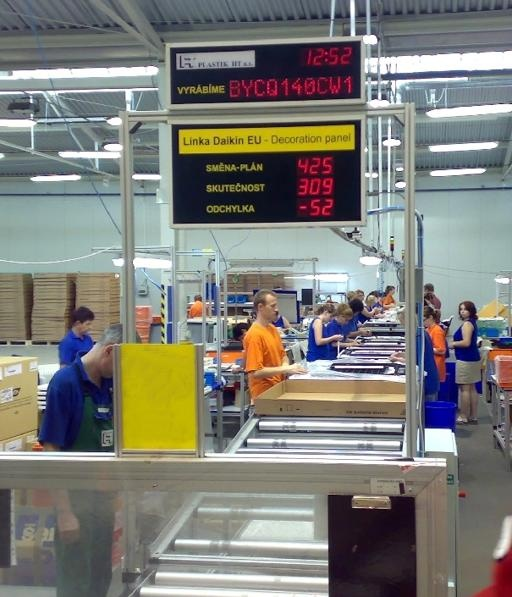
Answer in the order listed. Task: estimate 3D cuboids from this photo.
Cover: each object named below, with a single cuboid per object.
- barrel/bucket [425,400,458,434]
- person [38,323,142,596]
[{"bbox_3d":[0.978,0.614,3.241,0.203,0.141,0.190,-1,5,0],"label":"barrel/bucket"},{"bbox_3d":[-0.490,0.389,1.794,0.318,0.588,0.882,0,1,-11],"label":"person"}]
